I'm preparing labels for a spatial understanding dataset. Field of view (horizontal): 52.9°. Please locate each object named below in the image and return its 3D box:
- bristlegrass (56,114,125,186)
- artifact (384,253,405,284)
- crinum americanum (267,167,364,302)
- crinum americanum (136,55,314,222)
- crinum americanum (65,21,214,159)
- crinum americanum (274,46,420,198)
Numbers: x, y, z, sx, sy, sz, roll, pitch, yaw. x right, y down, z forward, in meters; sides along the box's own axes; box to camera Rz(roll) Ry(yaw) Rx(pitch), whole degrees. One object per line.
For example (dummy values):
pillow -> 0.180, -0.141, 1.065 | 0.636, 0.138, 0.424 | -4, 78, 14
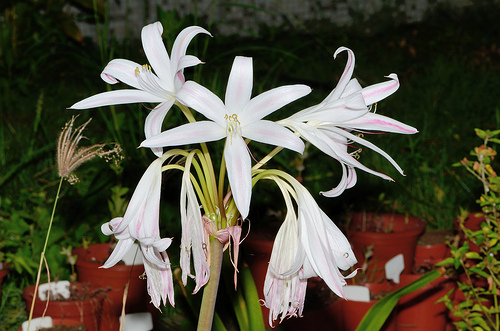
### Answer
bristlegrass -> -0.746, -0.065, 2.370 | 0.316, 0.321, 0.098 | 42, -7, 11
artifact -> 0.712, 0.503, 2.477 | 0.118, 0.130, 0.030 | -19, -3, -1
crinum americanum -> 0.225, 0.247, 1.806 | 0.228, 0.488, 0.266 | 0, 12, -11
crinum americanum -> -0.071, -0.052, 1.865 | 0.415, 0.656, 0.400 | 0, 6, -4
crinum americanum -> -0.395, -0.208, 1.820 | 0.309, 0.563, 0.409 | 6, 12, 33
crinum americanum -> 0.333, -0.153, 1.819 | 0.353, 0.678, 0.343 | -4, 14, -23
